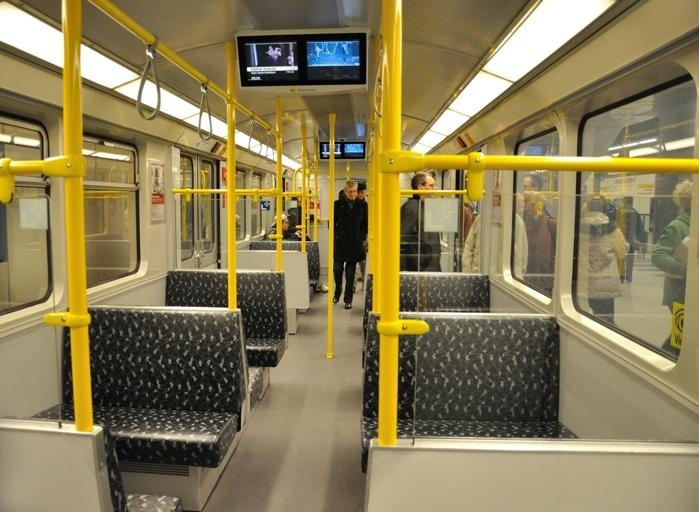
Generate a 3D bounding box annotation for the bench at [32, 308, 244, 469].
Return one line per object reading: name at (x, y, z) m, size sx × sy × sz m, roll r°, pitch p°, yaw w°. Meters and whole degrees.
bench at (-1.314, 0.834, 3.751) m, size 1.610 × 1.232 × 0.897 m, roll 1°, pitch -1°, yaw 1°

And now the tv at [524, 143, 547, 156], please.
tv at (1.050, -0.602, 3.095) m, size 0.089 × 0.055 × 0.452 m, roll -1°, pitch 13°, yaw 15°

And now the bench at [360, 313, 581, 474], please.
bench at (0.519, 0.534, 2.463) m, size 1.120 × 0.819 × 0.623 m, roll 1°, pitch -5°, yaw 0°

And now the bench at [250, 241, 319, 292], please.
bench at (-0.949, 0.255, 8.434) m, size 1.175 × 0.860 × 0.660 m, roll 1°, pitch 7°, yaw 4°

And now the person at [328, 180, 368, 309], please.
person at (0.010, -0.140, 8.241) m, size 0.626 × 2.004 × 0.783 m, roll -4°, pitch 11°, yaw -1°
